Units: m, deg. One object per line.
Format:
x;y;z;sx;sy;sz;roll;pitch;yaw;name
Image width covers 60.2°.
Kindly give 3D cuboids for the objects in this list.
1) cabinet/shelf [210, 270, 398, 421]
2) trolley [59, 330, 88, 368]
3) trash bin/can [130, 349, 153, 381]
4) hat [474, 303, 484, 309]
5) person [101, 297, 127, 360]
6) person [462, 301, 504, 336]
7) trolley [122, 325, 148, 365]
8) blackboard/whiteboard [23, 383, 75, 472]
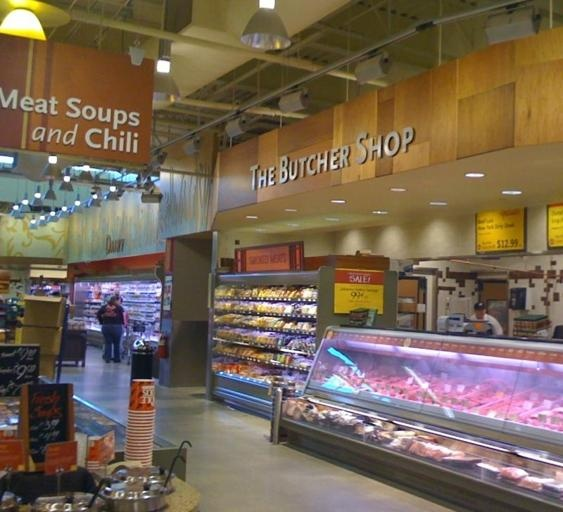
0.334;1.258;6.840;0.944;1.706;2.414;2;-2;-28;cabinet/shelf
-5.392;2.416;13.128;0.677;0.916;1.145;2;-6;-5;trolley
-2.183;1.717;7.654;0.313;0.463;0.360;4;-5;-18;trash bin/can
3.098;0.794;7.635;0.124;0.096;0.124;-2;5;-7;hat
-4.826;2.099;13.768;0.661;1.897;0.936;4;-5;-19;person
3.229;1.027;7.826;0.537;0.898;0.501;-8;-10;34;person
-4.677;2.875;15.493;0.639;1.102;0.636;7;-13;-20;trolley
-0.923;0.657;1.881;0.218;0.310;0.158;2;-5;7;blackboard/whiteboard
